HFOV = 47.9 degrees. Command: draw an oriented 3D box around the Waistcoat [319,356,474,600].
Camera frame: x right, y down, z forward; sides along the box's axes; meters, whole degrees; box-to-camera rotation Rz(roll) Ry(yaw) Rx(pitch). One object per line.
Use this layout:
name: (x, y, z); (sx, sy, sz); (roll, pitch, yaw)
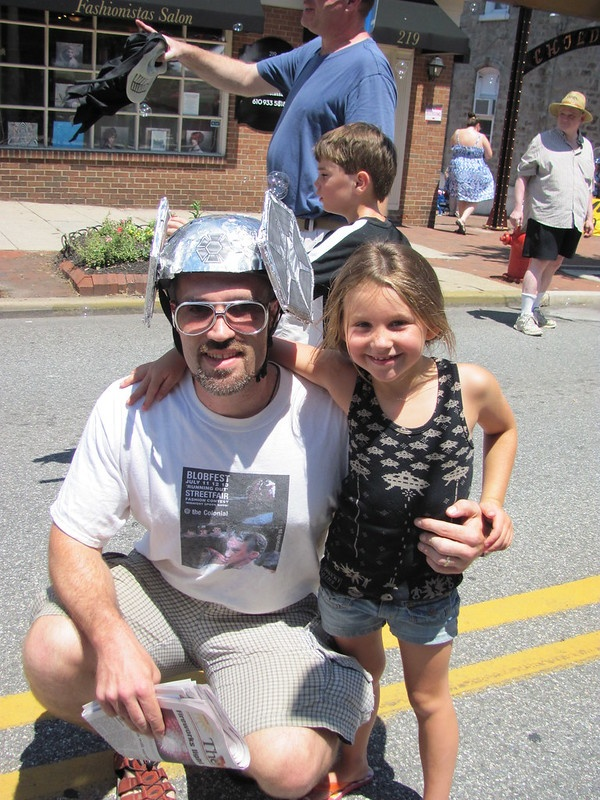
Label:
Waistcoat: (0.227, 0.197, 1.574); (0.255, 0.576, 0.283); (-5, 18, -36)

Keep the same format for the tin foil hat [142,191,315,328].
tin foil hat: (-0.152, -0.336, 1.505); (0.483, 0.293, 0.332); (2, 34, -5)

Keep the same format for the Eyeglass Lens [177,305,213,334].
Eyeglass Lens: (-0.236, -0.179, 1.487); (0.105, 0.079, 0.026); (13, 16, 31)

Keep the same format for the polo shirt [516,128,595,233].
polo shirt: (2.826, -2.432, 7.417); (0.821, 1.066, 0.452); (8, 15, 12)

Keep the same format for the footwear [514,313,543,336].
footwear: (2.631, -0.873, 7.789); (0.183, 0.167, 0.394); (-9, 19, -13)
